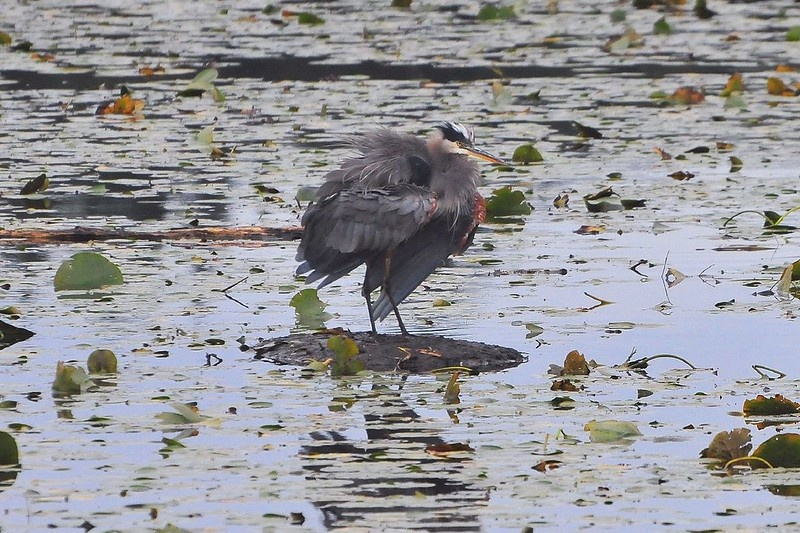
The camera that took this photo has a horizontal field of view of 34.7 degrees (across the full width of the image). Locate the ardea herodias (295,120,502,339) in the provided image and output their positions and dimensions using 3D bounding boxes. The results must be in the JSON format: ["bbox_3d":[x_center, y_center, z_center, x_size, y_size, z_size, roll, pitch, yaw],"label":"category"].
[{"bbox_3d":[-0.077,-0.314,9.665,1.411,1.658,0.620,1,-7,2],"label":"ardea herodias"}]
